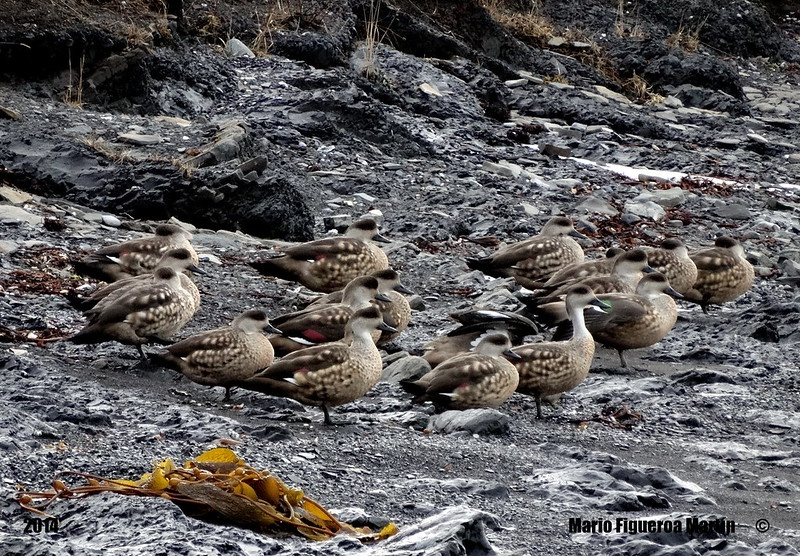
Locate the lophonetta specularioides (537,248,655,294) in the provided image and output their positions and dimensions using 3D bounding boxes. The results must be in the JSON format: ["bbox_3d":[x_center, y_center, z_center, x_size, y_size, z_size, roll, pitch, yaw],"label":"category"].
[{"bbox_3d":[2.293,0.027,13.700,1.717,0.396,0.447,-7,11,-18],"label":"lophonetta specularioides"}]

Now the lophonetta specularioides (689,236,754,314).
[{"bbox_3d":[4.091,0.035,14.260,0.823,0.838,0.312,8,6,7],"label":"lophonetta specularioides"}]
